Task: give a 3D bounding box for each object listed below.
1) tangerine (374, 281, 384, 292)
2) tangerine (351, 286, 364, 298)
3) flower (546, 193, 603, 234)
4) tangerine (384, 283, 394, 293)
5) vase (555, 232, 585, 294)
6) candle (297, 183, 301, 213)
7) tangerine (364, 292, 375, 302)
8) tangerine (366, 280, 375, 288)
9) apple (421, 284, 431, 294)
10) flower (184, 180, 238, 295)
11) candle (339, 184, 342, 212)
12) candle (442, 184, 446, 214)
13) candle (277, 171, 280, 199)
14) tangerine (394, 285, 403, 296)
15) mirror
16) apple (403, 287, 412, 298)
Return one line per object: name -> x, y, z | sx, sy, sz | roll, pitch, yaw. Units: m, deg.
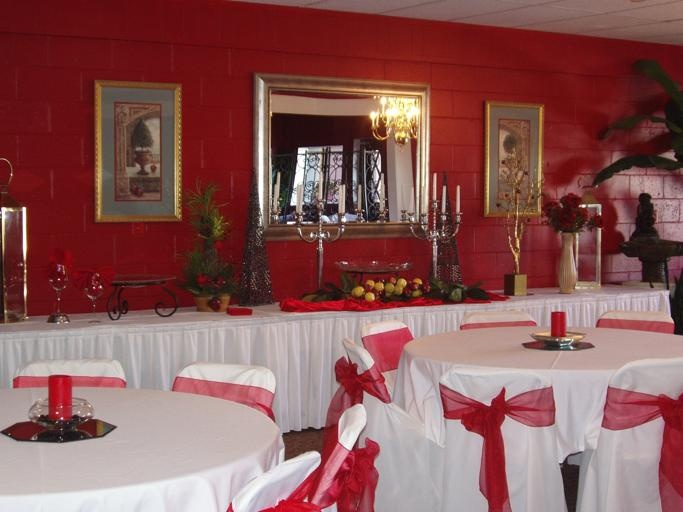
tangerine -> 0.283, 0.236, 4.519 | 0.067, 0.068, 0.109 | -1, 1, 8
tangerine -> 0.120, 0.270, 4.404 | 0.076, 0.084, 0.091 | 25, -34, -27
flower -> 1.922, -0.334, 4.985 | 0.345, 0.340, 0.355 | 4, 6, 43
tangerine -> 0.363, 0.244, 4.536 | 0.081, 0.071, 0.046 | -1, 1, 4
vase -> 1.948, 0.062, 5.132 | 0.148, 0.522, 0.356 | -1, 1, 20
candle -> -0.300, -0.401, 4.295 | 0.032, 0.197, 0.128 | -2, 1, -14
tangerine -> 0.222, 0.304, 4.423 | 0.114, 0.068, 0.055 | -3, 2, -41
tangerine -> 0.212, 0.218, 4.532 | 0.050, 0.068, 0.054 | -1, 1, 11
apple -> 0.668, 0.259, 4.642 | 0.093, 0.072, 0.045 | -3, 2, -45
flower -> -0.980, -0.122, 4.376 | 0.358, 0.809, 0.508 | -2, 1, -15
candle -> 0.001, -0.408, 4.379 | 0.030, 0.190, 0.108 | -1, 1, -4
candle -> 0.840, -0.453, 4.894 | 0.046, 0.224, 0.229 | -1, 1, 9
candle -> -0.492, -0.552, 4.669 | 0.041, 0.211, 0.193 | -1, 1, -7
tangerine -> 0.432, 0.264, 4.540 | 0.054, 0.074, 0.061 | 8, 12, 7
mirror -> -0.048, -0.792, 4.866 | 1.239, 1.222, 0.053 | 0, 2, -12
apple -> 0.501, 0.283, 4.571 | 0.047, 0.066, 0.063 | -16, -21, 29
